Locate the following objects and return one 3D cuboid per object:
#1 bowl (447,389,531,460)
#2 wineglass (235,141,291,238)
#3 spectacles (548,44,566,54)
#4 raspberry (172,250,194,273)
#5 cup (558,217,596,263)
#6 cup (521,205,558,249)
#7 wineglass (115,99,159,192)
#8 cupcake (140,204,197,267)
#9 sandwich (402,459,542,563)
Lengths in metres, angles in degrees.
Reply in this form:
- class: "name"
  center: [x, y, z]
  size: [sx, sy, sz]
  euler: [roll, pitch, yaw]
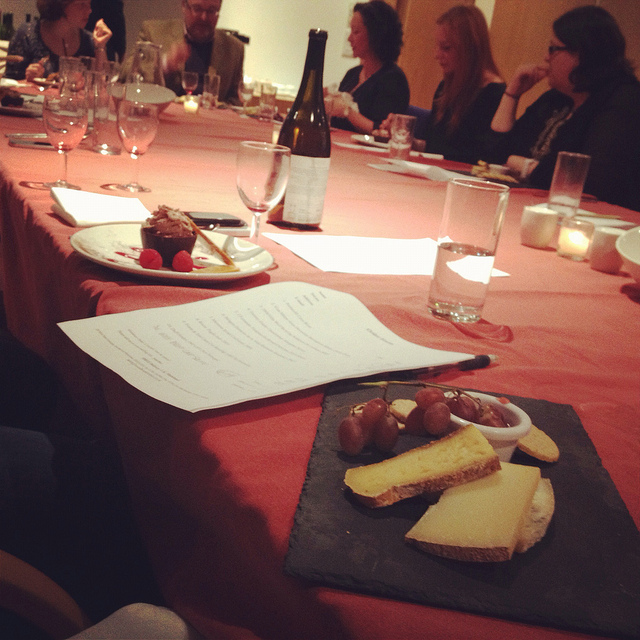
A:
- class: "bowl"
  center: [0.108, 0.064, 0.389]
  size: [0.044, 0.025, 0.044]
  euler: [18, 15, -5]
- class: "wineglass"
  center: [-0.091, -0.159, 0.852]
  size: [0.078, 0.191, 0.074]
  euler: [1, 22, -22]
- class: "spectacles"
  center: [1.540, -1.752, 3.778]
  size: [0.024, 0.050, 0.169]
  euler: [2, 20, -20]
- class: "raspberry"
  center: [-0.160, -0.068, 0.686]
  size: [0.020, 0.022, 0.028]
  euler: [6, 33, 0]
- class: "cup"
  center: [0.513, -0.164, 1.164]
  size: [0.061, 0.086, 0.057]
  euler: [-2, 32, 2]
- class: "cup"
  center: [0.459, -0.188, 1.206]
  size: [0.058, 0.065, 0.058]
  euler: [6, 23, -2]
- class: "wineglass"
  center: [-0.345, -0.317, 1.092]
  size: [0.065, 0.133, 0.064]
  euler: [3, 8, 2]
- class: "cupcake"
  center: [-0.186, -0.112, 0.738]
  size: [0.068, 0.073, 0.056]
  euler: [-15, 30, -32]
- class: "sandwich"
  center: [0.084, 0.099, 0.314]
  size: [0.049, 0.025, 0.084]
  euler: [18, 20, 26]
